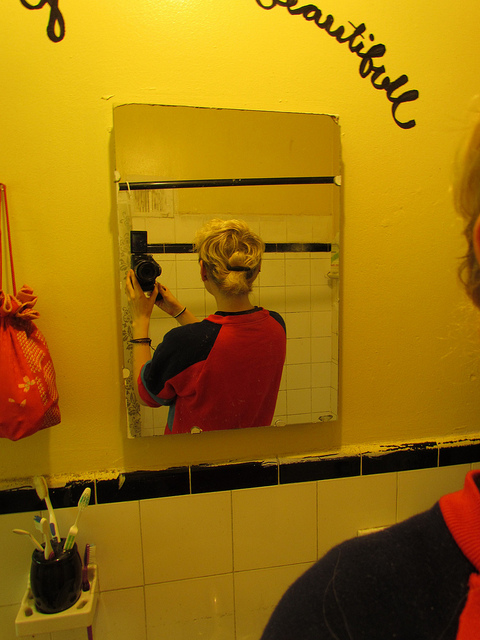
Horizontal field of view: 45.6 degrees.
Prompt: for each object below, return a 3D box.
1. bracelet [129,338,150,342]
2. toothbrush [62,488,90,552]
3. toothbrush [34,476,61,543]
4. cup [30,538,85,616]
[{"bbox_3d":[-0.219,0.042,1.242,0.042,0.008,0.006,-3,16,-16],"label":"bracelet"},{"bbox_3d":[-0.352,0.418,1.213,0.017,0.165,0.017,17,-14,-2],"label":"toothbrush"},{"bbox_3d":[-0.391,0.378,1.159,0.031,0.203,0.017,-4,-5,-33],"label":"toothbrush"},{"bbox_3d":[-0.355,0.496,1.131,0.110,0.123,0.112,-4,-5,0],"label":"cup"}]
